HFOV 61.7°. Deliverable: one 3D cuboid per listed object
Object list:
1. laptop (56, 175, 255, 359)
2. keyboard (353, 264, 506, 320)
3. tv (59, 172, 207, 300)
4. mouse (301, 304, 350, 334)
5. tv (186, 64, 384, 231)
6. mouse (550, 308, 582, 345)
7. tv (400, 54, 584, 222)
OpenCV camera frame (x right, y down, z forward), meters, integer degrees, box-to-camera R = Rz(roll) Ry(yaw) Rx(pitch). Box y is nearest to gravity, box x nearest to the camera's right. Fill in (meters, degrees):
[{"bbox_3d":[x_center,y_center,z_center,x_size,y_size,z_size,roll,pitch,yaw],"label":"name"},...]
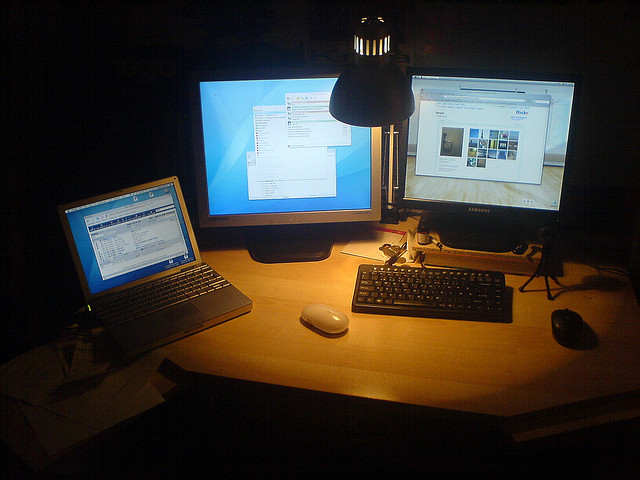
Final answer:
[{"bbox_3d":[-0.469,0.040,1.558,0.444,0.293,0.471,-9,29,-23],"label":"laptop"},{"bbox_3d":[0.340,0.141,1.614,0.456,0.087,0.223,3,18,8],"label":"keyboard"},{"bbox_3d":[-0.596,-0.020,1.734,0.451,0.284,0.328,-23,23,-17],"label":"tv"},{"bbox_3d":[0.020,0.205,1.489,0.109,0.036,0.069,18,36,34],"label":"mouse"},{"bbox_3d":[-0.111,-0.305,1.729,0.506,0.406,0.053,-4,15,-3],"label":"tv"},{"bbox_3d":[0.665,0.235,1.452,0.079,0.070,0.075,9,20,25],"label":"mouse"},{"bbox_3d":[0.536,-0.315,1.682,0.520,0.505,0.038,4,16,3],"label":"tv"}]
